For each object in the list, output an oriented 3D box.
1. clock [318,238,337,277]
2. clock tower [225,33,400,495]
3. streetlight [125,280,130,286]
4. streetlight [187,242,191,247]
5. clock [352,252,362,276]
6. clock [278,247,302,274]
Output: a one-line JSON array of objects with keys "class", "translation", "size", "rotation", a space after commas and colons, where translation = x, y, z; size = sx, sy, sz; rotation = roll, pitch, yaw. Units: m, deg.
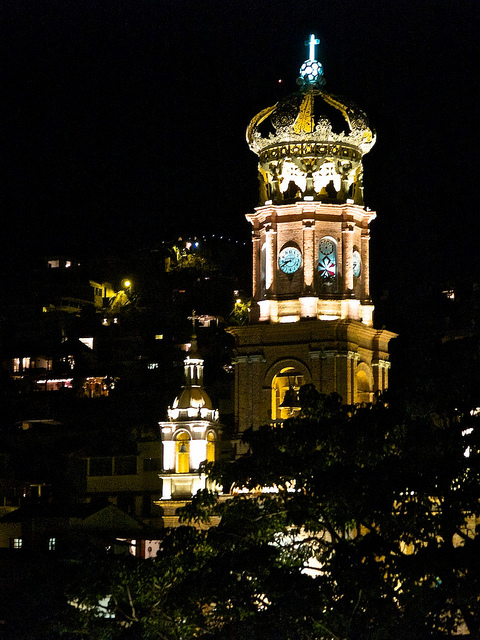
[{"class": "clock", "translation": [2.800, -1.938, 41.210], "size": [0.602, 1.627, 0.160], "rotation": [-2, -35, 5]}, {"class": "clock tower", "translation": [2.212, -1.696, 42.657], "size": [5.563, 14.744, 5.238], "rotation": [8, -5, -41]}, {"class": "streetlight", "translation": [-9.671, -3.149, 108.100], "size": [0.370, 0.698, 1.398], "rotation": [1, -11, -6]}, {"class": "streetlight", "translation": [-4.209, -6.207, 103.447], "size": [0.116, 0.434, 0.573], "rotation": [5, -12, -28]}, {"class": "clock", "translation": [3.894, -1.851, 42.253], "size": [0.424, 0.866, 0.049], "rotation": [10, -14, -42]}, {"class": "clock", "translation": [1.625, -1.926, 41.111], "size": [0.604, 0.742, 0.074], "rotation": [23, 8, 17]}]
